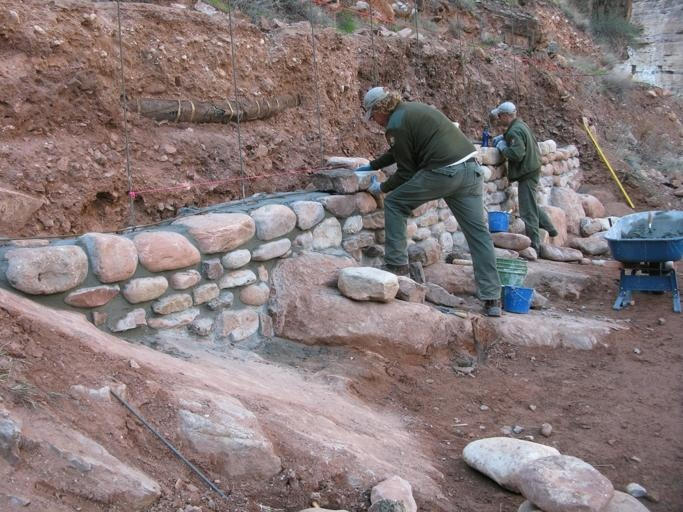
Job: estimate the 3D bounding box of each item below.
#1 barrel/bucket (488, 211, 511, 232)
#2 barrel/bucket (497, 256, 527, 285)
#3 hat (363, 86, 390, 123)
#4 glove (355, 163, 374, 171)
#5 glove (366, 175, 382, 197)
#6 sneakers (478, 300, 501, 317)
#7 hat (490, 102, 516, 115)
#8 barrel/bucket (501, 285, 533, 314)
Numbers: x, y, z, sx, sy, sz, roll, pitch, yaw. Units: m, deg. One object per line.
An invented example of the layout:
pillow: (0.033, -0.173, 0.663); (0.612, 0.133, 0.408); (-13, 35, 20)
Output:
barrel/bucket: (2.122, -0.453, 8.896); (0.255, 0.249, 0.325); (0, -2, 4)
barrel/bucket: (1.869, 0.172, 7.248); (0.284, 0.241, 0.321); (2, -4, 3)
hat: (0.357, -1.511, 6.569); (0.235, 0.301, 0.263); (0, 18, 1)
glove: (0.241, -0.912, 6.931); (0.151, 0.066, 0.088); (-18, 7, -5)
glove: (0.352, -0.724, 6.927); (0.150, 0.192, 0.077); (-4, 15, -36)
sneakers: (1.568, 0.541, 6.865); (0.099, 0.189, 0.263); (-5, 12, -14)
hat: (2.257, -2.047, 9.334); (0.423, 0.229, 0.277); (4, 16, 16)
barrel/bucket: (1.920, 0.472, 7.205); (0.304, 0.236, 0.296); (1, 0, 0)
